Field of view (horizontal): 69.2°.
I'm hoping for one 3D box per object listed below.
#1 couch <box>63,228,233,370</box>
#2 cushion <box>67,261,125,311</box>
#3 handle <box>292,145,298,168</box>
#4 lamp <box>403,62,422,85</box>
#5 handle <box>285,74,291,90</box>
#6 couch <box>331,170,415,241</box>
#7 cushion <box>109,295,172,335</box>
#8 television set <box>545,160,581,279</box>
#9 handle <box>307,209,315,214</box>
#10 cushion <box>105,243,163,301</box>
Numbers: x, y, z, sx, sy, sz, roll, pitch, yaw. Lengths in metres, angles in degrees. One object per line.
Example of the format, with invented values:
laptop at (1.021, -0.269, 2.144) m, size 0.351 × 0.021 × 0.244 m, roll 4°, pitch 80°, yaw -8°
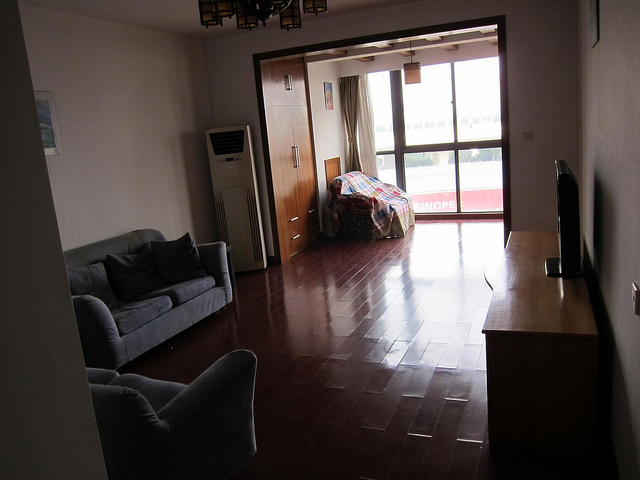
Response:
couch at (-1.780, 0.503, 4.590) m, size 0.924 × 1.083 × 1.927 m, roll -8°, pitch 7°, yaw 20°
cushion at (-2.071, 0.443, 4.213) m, size 0.349 × 0.417 × 0.524 m, roll 3°, pitch 14°, yaw 29°
handle at (-0.359, -1.264, 6.997) m, size 0.020 × 0.332 × 0.095 m, roll 0°, pitch 12°, yaw 18°
lamp at (1.435, -2.565, 7.230) m, size 0.286 × 0.318 × 0.289 m, roll -7°, pitch 12°, yaw -32°
handle at (-0.467, -2.318, 6.816) m, size 0.011 × 0.207 × 0.120 m, roll 3°, pitch 13°, yaw 30°
couch at (0.957, -0.671, 8.017) m, size 1.120 × 1.013 × 1.458 m, roll 1°, pitch 15°, yaw 28°
cushion at (-1.662, 0.653, 4.185) m, size 0.348 × 0.145 × 0.645 m, roll 2°, pitch 14°, yaw 27°
television set at (1.832, -0.180, 3.500) m, size 0.252 × 0.738 × 0.960 m, roll 0°, pitch 17°, yaw 19°
handle at (-0.130, -0.467, 7.504) m, size 0.026 × 0.043 × 0.258 m, roll 7°, pitch 13°, yaw 27°
cushion at (-1.812, 0.359, 4.679) m, size 0.199 × 0.567 × 0.589 m, roll -1°, pitch 11°, yaw 31°
